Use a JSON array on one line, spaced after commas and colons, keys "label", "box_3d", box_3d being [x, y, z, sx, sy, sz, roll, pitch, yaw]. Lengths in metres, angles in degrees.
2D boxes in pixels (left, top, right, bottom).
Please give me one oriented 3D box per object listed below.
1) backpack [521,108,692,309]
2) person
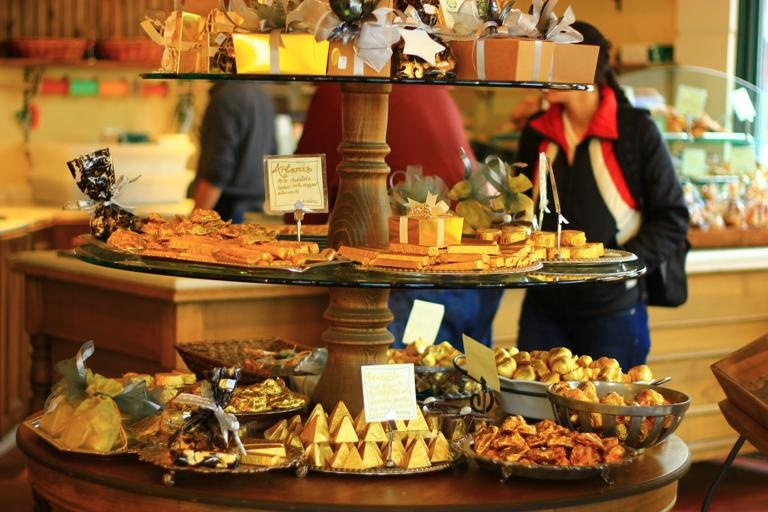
[{"label": "backpack", "box_3d": [0.826, -0.178, 3.249, 0.782, 0.748, 0.437, 2, 11, 38]}, {"label": "person", "box_3d": [0.204, -0.157, 2.934, 1.639, 1.326, 0.859, 0, 16, -1]}]
